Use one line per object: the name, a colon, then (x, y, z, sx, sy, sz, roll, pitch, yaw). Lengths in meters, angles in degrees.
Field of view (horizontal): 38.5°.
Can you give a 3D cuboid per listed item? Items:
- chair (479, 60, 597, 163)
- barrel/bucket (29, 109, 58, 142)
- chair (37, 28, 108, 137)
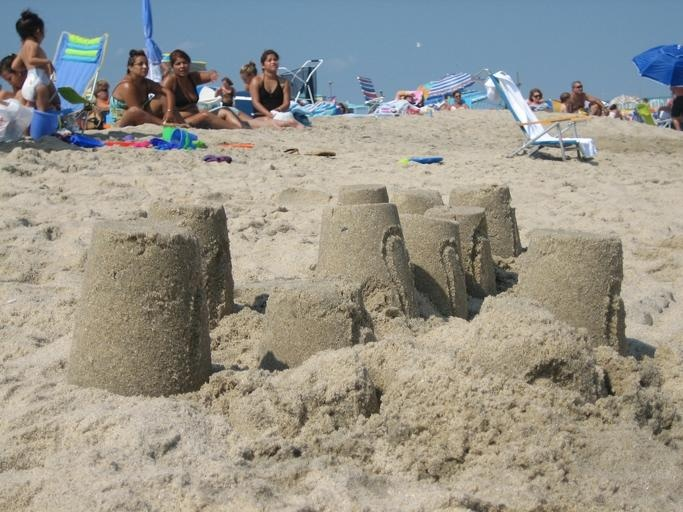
chair: (2.426, -1.748, 12.279, 1.174, 1.177, 0.777, 0, 6, 20)
barrel/bucket: (-3.089, -1.369, 10.111, 0.260, 0.239, 0.281, 15, 12, -3)
chair: (-3.752, -2.416, 13.790, 0.735, 1.394, 1.202, 4, 3, -28)
